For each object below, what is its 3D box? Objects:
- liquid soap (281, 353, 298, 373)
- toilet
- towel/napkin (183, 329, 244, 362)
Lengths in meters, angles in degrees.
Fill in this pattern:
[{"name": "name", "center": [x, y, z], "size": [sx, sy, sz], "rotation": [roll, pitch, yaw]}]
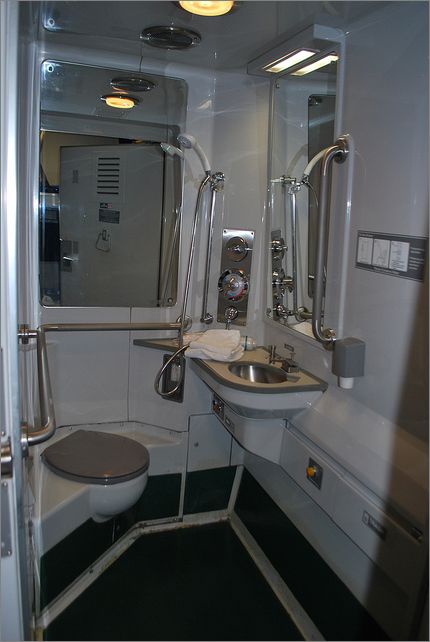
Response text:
[{"name": "liquid soap", "center": [0.290, 0.175, 1.768], "size": [0.036, 0.079, 0.072], "rotation": [5, 12, -6]}, {"name": "toilet", "center": [-0.512, 0.701, 2.001], "size": [0.448, 0.312, 0.401], "rotation": [7, 12, 24]}, {"name": "towel/napkin", "center": [0.003, 0.112, 1.970], "size": [0.243, 0.106, 0.186], "rotation": [6, 13, 14]}]
